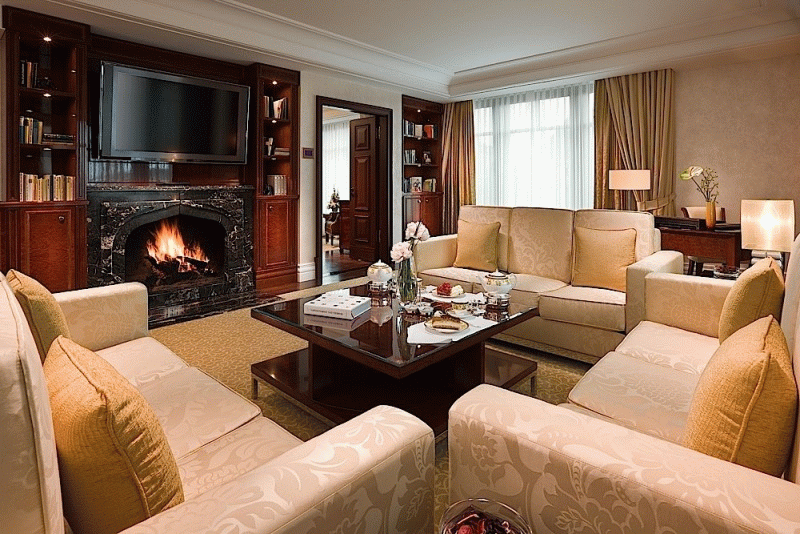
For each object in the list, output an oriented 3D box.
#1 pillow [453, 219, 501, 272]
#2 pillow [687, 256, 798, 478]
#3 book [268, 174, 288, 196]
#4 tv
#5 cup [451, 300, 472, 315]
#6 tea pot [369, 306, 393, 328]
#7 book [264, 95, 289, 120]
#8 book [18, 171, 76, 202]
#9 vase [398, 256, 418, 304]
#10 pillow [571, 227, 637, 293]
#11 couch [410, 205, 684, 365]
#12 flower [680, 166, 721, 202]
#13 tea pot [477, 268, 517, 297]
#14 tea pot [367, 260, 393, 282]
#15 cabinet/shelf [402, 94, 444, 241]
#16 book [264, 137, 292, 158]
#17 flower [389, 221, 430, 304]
[{"bbox_3d":[0.722,-0.186,4.688,0.460,0.461,0.169,3,-9,33],"label":"pillow"},{"bbox_3d":[1.340,0.390,1.993,0.247,0.490,0.721,5,10,26],"label":"pillow"},{"bbox_3d":[-1.427,-0.957,5.960,0.218,0.292,0.294,-10,18,-39],"label":"book"},{"bbox_3d":[-2.237,-1.488,5.160,1.431,0.858,0.133,4,8,-5],"label":"tv"},{"bbox_3d":[0.369,0.250,3.158,0.092,0.062,0.081,-2,-2,41],"label":"cup"},{"bbox_3d":[-0.122,0.306,3.249,0.092,0.078,0.093,0,0,0],"label":"tea pot"},{"bbox_3d":[-1.448,-1.803,5.888,0.261,0.323,0.335,-6,13,-39],"label":"book"},{"bbox_3d":[-2.998,-0.673,4.333,0.425,0.222,0.086,-11,13,-36],"label":"book"},{"bbox_3d":[0.048,0.061,3.316,0.133,0.363,0.131,1,16,7],"label":"vase"},{"bbox_3d":[1.586,-0.043,3.929,0.458,0.477,0.176,4,-12,40],"label":"pillow"},{"bbox_3d":[1.141,0.083,4.378,2.092,1.131,0.887,9,15,41],"label":"couch"},{"bbox_3d":[3.497,-0.971,6.004,0.310,0.360,0.220,-16,-24,41],"label":"flower"},{"bbox_3d":[0.623,0.106,3.351,0.206,0.154,0.156,1,1,19],"label":"tea pot"},{"bbox_3d":[-0.141,0.030,3.726,0.154,0.149,0.152,1,2,0],"label":"tea pot"},{"bbox_3d":[0.279,-1.300,8.133,0.819,2.357,0.323,-6,11,-29],"label":"cabinet/shelf"},{"bbox_3d":[-1.417,-1.345,5.898,0.261,0.166,0.264,3,5,11],"label":"book"},{"bbox_3d":[0.057,0.004,3.350,0.262,0.491,0.263,-5,11,-22],"label":"flower"}]
